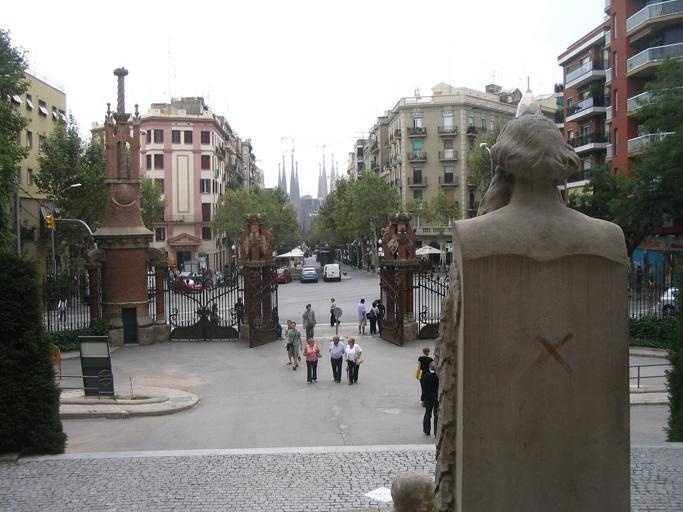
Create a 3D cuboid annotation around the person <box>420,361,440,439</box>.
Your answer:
[{"bbox_3d":[2.245,3.622,24.707,0.443,1.232,1.586,-5,3,5],"label":"person"}]

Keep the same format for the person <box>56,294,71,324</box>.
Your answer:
[{"bbox_3d":[-9.929,1.861,34.483,0.411,0.862,1.548,-6,2,-17],"label":"person"}]

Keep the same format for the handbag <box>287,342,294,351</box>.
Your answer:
[{"bbox_3d":[-1.656,2.926,31.419,0.187,0.403,0.269,0,3,15],"label":"handbag"}]

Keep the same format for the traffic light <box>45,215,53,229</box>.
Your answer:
[{"bbox_3d":[-12.808,-1.563,42.600,0.328,0.605,1.282,-6,2,-17],"label":"traffic light"}]

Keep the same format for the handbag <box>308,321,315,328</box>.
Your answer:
[{"bbox_3d":[-1.083,2.398,34.243,0.154,0.327,0.213,6,5,35],"label":"handbag"}]

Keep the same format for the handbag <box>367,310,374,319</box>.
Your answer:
[{"bbox_3d":[1.128,2.223,37.492,0.260,0.343,0.307,0,3,23],"label":"handbag"}]

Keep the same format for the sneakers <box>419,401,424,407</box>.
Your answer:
[{"bbox_3d":[2.205,4.046,26.671,0.113,0.150,0.119,-6,9,-39],"label":"sneakers"}]

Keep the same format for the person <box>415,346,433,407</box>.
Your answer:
[{"bbox_3d":[2.218,3.154,25.879,0.447,1.615,0.394,0,17,0],"label":"person"}]

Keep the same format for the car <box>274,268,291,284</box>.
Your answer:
[{"bbox_3d":[-4.233,1.329,70.144,1.080,0.961,2.646,-2,-4,2],"label":"car"}]

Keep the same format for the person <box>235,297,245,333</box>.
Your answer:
[{"bbox_3d":[-3.944,2.225,37.501,0.372,1.057,1.734,-6,2,-7],"label":"person"}]
